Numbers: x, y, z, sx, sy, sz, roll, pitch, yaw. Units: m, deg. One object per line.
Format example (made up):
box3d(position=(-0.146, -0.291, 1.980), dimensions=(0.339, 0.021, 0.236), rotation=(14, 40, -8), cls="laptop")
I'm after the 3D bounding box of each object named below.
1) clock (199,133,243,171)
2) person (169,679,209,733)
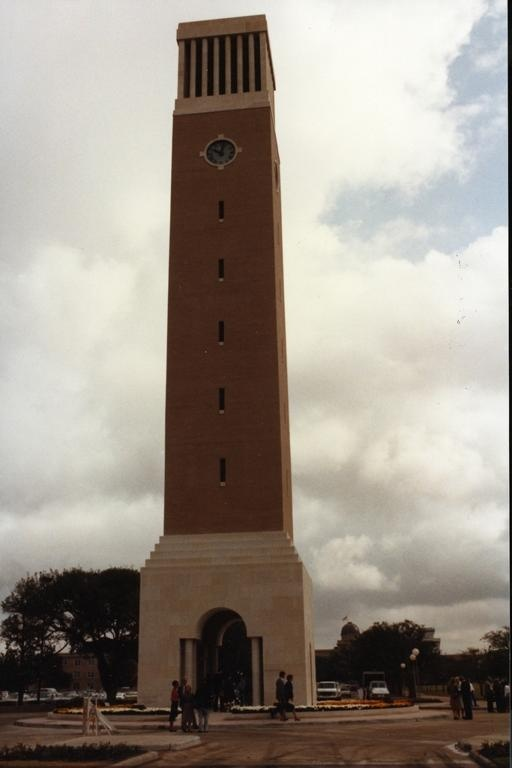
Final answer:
box3d(position=(-1.404, -9.502, 37.663), dimensions=(1.434, 1.584, 0.209), rotation=(-3, -19, 10), cls="clock")
box3d(position=(-1.737, 8.221, 23.380), dimensions=(0.876, 1.220, 2.340), rotation=(2, -17, -14), cls="person")
